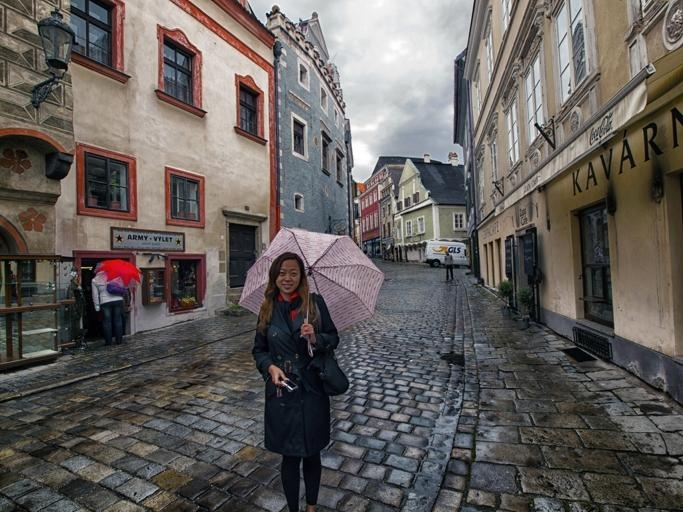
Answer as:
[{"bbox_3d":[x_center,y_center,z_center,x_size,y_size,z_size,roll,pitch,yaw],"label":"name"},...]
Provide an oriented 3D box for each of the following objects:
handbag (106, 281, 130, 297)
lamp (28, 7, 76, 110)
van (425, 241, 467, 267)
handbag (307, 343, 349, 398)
[{"bbox_3d":[-5.246,0.746,10.072,0.415,0.342,0.198,12,9,-8],"label":"handbag"},{"bbox_3d":[-6.128,-4.328,8.925,0.851,2.114,0.753,-3,-3,-27],"label":"lamp"},{"bbox_3d":[9.021,-0.291,36.604,3.088,1.750,1.895,-2,2,4],"label":"van"},{"bbox_3d":[-0.152,1.065,4.296,0.234,0.387,0.771,3,-40,18],"label":"handbag"}]
